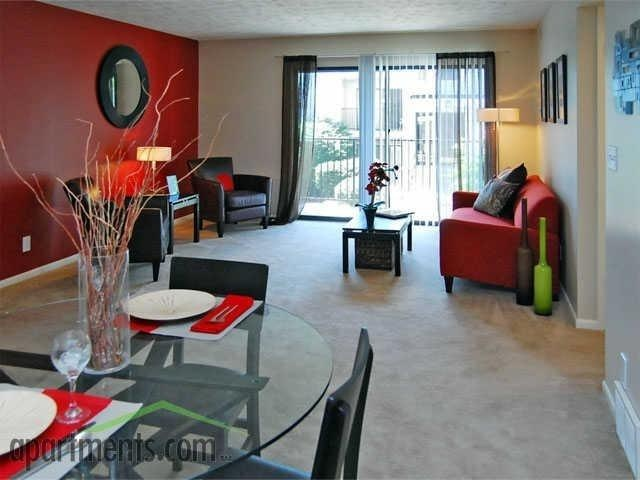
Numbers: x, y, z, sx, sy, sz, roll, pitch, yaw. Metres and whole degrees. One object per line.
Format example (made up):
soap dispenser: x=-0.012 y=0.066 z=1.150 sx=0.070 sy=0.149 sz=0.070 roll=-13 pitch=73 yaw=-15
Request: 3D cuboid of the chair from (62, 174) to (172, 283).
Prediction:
chair: x=-2.058 y=-0.194 z=5.330 sx=0.842 sy=0.973 sz=0.702 roll=-1 pitch=15 yaw=-8

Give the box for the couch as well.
couch: x=1.657 y=-0.390 z=4.735 sx=0.876 sy=0.913 sz=1.759 roll=1 pitch=10 yaw=17

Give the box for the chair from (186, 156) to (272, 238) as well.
chair: x=-1.345 y=-0.673 z=7.487 sx=0.970 sy=1.030 sz=0.837 roll=-12 pitch=16 yaw=-43

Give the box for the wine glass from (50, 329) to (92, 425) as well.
wine glass: x=-0.713 y=0.392 z=1.434 sx=0.099 sy=0.226 sz=0.138 roll=-5 pitch=12 yaw=-22

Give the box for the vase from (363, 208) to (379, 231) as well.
vase: x=0.508 y=-0.207 z=5.403 sx=0.191 sy=0.269 sz=0.204 roll=-1 pitch=1 yaw=-2

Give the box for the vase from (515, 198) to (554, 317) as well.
vase: x=1.810 y=0.112 z=4.206 sx=0.295 sy=0.939 sz=0.425 roll=4 pitch=12 yaw=23

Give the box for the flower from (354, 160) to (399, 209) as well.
flower: x=0.618 y=-0.599 z=5.617 sx=0.447 sy=0.559 sz=0.375 roll=8 pitch=12 yaw=-3
